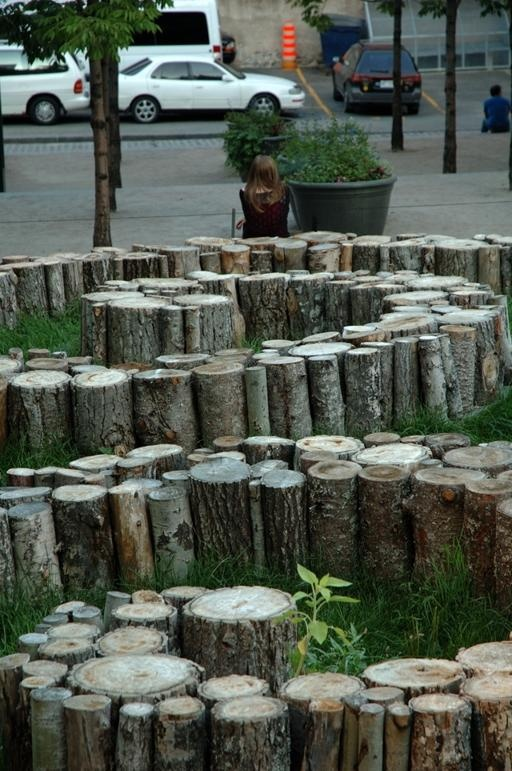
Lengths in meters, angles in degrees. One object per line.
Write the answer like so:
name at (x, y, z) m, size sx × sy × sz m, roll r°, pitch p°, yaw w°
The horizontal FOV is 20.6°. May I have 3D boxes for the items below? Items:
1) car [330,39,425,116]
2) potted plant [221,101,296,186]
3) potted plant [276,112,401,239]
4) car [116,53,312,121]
car at (2.042, -5.496, 24.969) m, size 0.982 × 0.885 × 2.155 m, roll -2°, pitch 25°, yaw -4°
potted plant at (-0.079, -2.706, 16.248) m, size 0.597 × 0.742 × 0.540 m, roll 4°, pitch -1°, yaw 42°
potted plant at (0.649, -1.851, 12.327) m, size 0.607 × 0.681 × 1.568 m, roll -3°, pitch 18°, yaw -4°
car at (-0.984, -5.107, 23.984) m, size 3.073 × 1.096 × 0.755 m, roll -1°, pitch 11°, yaw 17°
